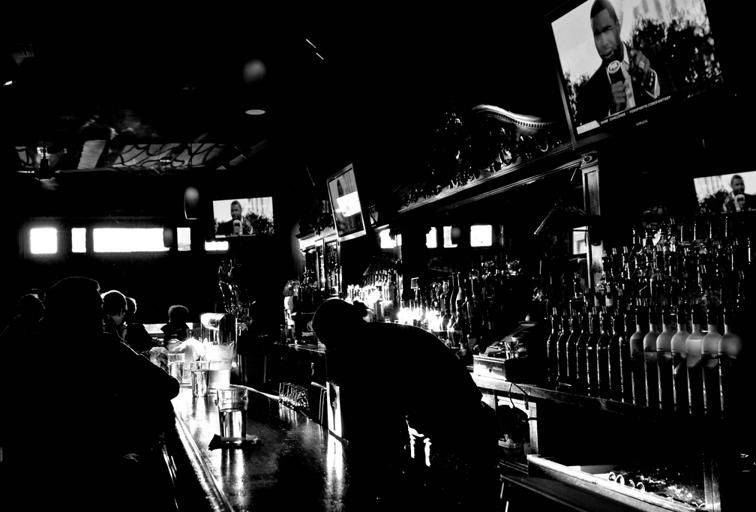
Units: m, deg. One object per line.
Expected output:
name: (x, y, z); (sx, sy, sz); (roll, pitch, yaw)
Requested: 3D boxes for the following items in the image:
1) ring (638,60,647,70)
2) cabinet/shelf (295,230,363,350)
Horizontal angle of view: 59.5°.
ring: (1.387, -0.997, 3.486); (0.053, 0.046, 0.012); (0, 3, 41)
cabinet/shelf: (-0.322, 0.441, 8.345); (0.395, 1.070, 1.095); (-9, -25, 37)
